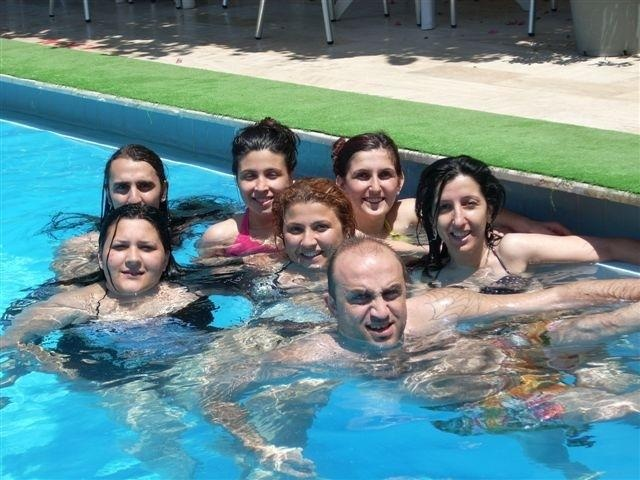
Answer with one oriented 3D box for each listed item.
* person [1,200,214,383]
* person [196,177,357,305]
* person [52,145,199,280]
[{"bbox_3d":[-1.526,0.396,3.940,1.917,0.628,0.535,-6,14,-30],"label":"person"},{"bbox_3d":[-0.087,0.016,3.833,1.307,0.639,0.580,-3,-1,-1],"label":"person"},{"bbox_3d":[-1.670,-0.337,4.741,1.526,0.863,0.529,-5,26,-14],"label":"person"}]
